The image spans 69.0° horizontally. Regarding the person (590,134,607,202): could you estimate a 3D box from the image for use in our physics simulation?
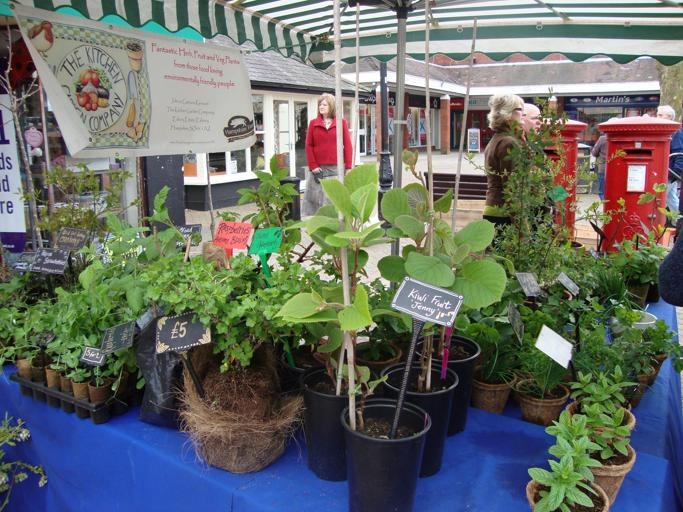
[{"bbox_3d":[4.613,-1.569,9.041,0.363,1.160,0.289,2,8,22],"label":"person"}]
